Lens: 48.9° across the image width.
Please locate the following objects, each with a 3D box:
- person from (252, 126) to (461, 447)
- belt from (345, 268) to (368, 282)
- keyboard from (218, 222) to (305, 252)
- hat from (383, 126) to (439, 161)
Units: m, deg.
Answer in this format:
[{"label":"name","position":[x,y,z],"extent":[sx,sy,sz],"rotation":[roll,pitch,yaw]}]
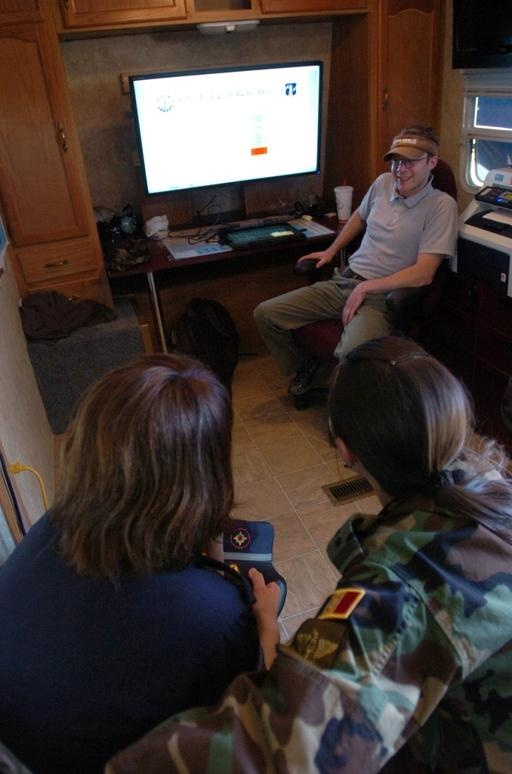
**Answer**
[{"label":"person","position":[0.543,-0.563,2.854],"extent":[0.840,1.388,0.822],"rotation":[-5,28,-24]},{"label":"belt","position":[0.532,-0.602,2.988],"extent":[0.083,0.090,0.071],"rotation":[-30,6,6]},{"label":"keyboard","position":[0.041,-0.895,3.290],"extent":[0.325,0.060,0.246],"rotation":[-10,34,-16]},{"label":"hat","position":[0.702,-1.133,2.558],"extent":[0.217,0.118,0.150],"rotation":[-26,36,-36]}]
